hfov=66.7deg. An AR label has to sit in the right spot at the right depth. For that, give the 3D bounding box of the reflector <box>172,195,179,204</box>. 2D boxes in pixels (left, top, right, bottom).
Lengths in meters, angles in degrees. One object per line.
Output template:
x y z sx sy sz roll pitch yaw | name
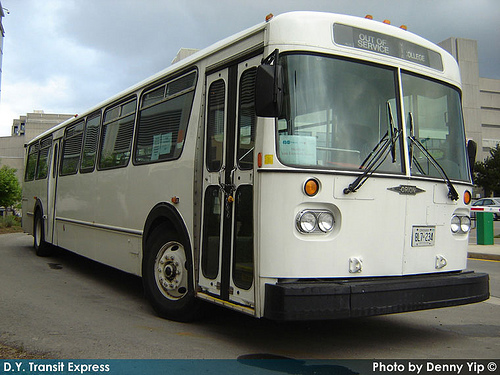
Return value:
-1.101 0.169 5.563 0.083 0.121 0.112 4 -4 -28 | reflector

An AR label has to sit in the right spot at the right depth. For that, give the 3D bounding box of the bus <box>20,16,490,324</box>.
0.049 0.035 5.278 1.749 1.830 5.010 9 -8 -31 | bus

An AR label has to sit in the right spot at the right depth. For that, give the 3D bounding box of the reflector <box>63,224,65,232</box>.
-4.871 1.031 9.935 0.070 0.115 0.026 6 -1 40 | reflector

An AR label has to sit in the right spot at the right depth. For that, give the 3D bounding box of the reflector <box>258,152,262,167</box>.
0.104 -0.310 4.255 0.019 0.158 0.066 -1 7 -31 | reflector
